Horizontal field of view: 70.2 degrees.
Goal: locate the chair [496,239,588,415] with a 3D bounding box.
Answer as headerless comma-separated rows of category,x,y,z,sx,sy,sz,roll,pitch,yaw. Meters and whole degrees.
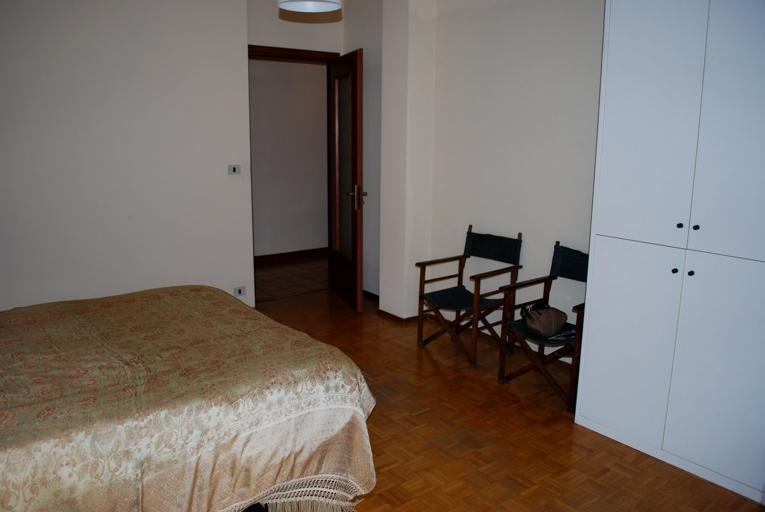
chair,1.478,0.549,4.530,0.800,1.196,0.793,9,14,42

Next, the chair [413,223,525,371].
chair,0.804,0.369,5.184,0.863,1.122,0.931,-3,13,-15
